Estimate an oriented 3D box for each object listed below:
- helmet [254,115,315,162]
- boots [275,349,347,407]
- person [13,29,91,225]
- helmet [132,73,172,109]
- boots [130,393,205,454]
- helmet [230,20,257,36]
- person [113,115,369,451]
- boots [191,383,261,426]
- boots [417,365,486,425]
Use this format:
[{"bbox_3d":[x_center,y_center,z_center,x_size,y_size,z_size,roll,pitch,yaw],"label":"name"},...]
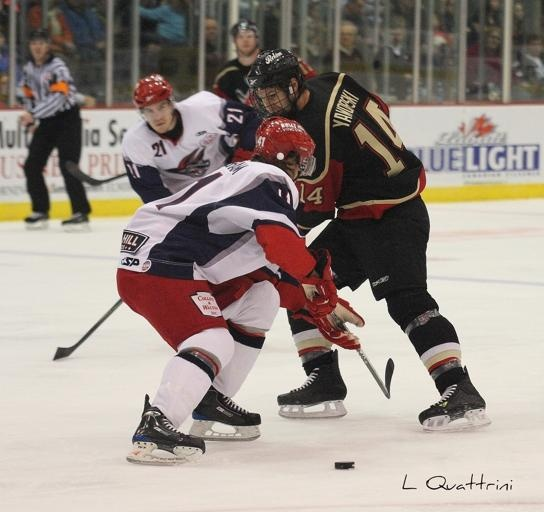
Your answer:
[{"bbox_3d":[0.054,-0.315,2.213,0.193,0.114,0.120,-7,24,-3],"label":"helmet"},{"bbox_3d":[0.143,0.426,2.621,0.261,0.136,0.085,-15,-13,35],"label":"boots"},{"bbox_3d":[-1.866,-1.064,6.641,0.633,1.632,0.357,5,14,32],"label":"person"},{"bbox_3d":[-0.475,-0.649,3.098,0.146,0.142,0.194,-3,9,-6],"label":"helmet"},{"bbox_3d":[-0.272,0.452,1.971,0.142,0.150,0.114,4,12,28],"label":"boots"},{"bbox_3d":[-0.225,-1.784,6.163,0.195,0.176,0.349,-2,8,-2],"label":"helmet"},{"bbox_3d":[-0.100,0.086,2.184,0.854,0.935,0.409,-8,13,-32],"label":"person"},{"bbox_3d":[-0.149,0.436,2.281,0.247,0.104,0.076,11,-4,-34],"label":"boots"},{"bbox_3d":[0.529,0.424,2.280,0.164,0.168,0.104,-6,12,-23],"label":"boots"}]
